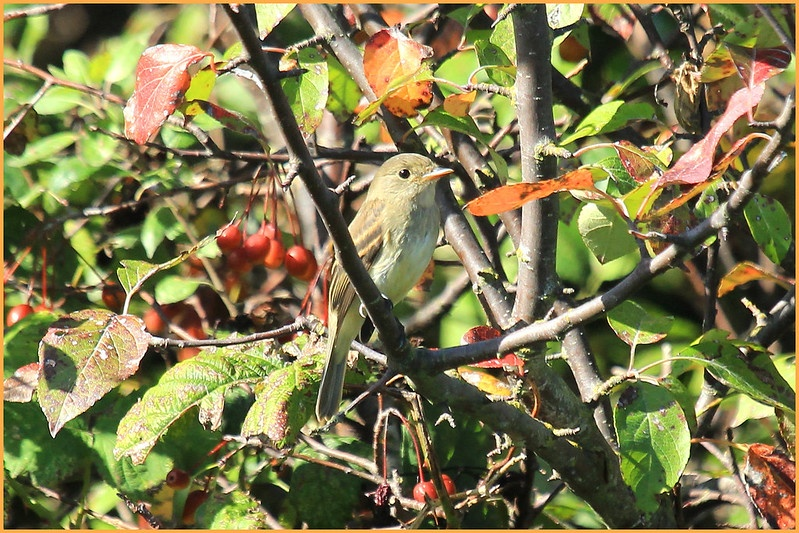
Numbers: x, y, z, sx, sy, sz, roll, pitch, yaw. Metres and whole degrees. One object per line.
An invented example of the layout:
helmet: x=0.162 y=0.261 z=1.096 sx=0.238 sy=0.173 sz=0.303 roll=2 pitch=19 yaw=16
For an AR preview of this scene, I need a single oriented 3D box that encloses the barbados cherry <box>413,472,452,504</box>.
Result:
barbados cherry: x=0.182 y=1.183 z=4.647 sx=0.162 sy=0.092 sz=0.220 roll=-22 pitch=-13 yaw=-25
